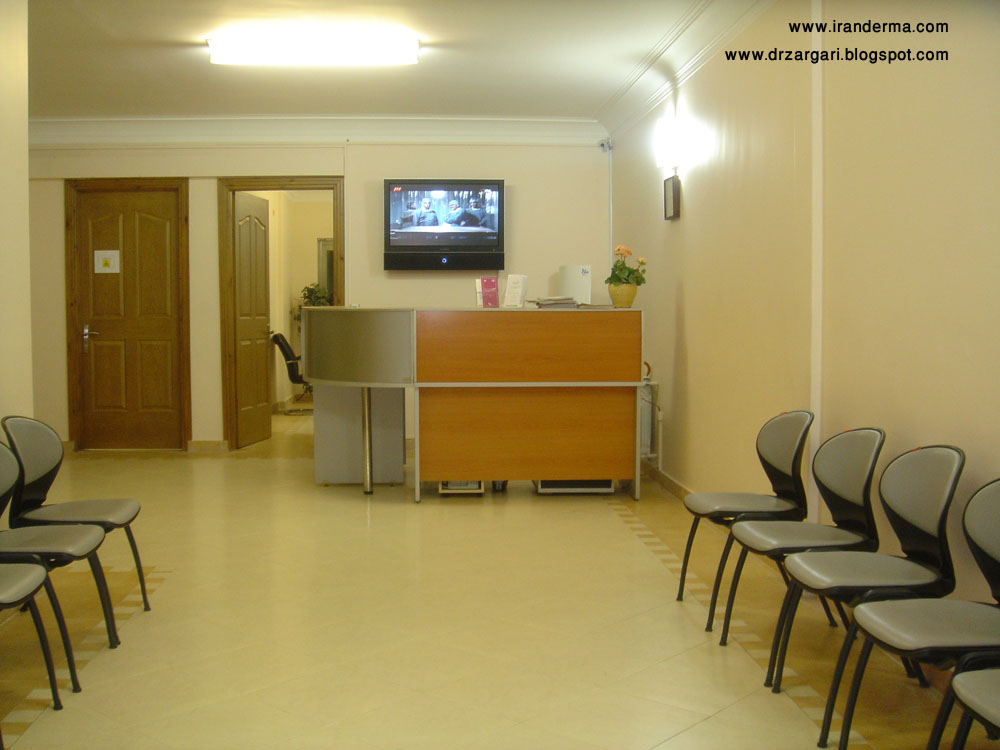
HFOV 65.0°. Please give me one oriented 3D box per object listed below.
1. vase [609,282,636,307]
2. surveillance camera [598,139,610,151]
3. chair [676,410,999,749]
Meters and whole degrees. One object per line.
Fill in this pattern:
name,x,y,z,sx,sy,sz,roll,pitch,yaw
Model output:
vase,0.932,-0.605,5.973,0.175,0.136,0.178,0,5,14
surveillance camera,1.039,-2.286,7.813,0.106,0.049,0.143,1,5,5
chair,1.419,0.746,3.439,0.727,1.030,1.193,-3,9,-16
